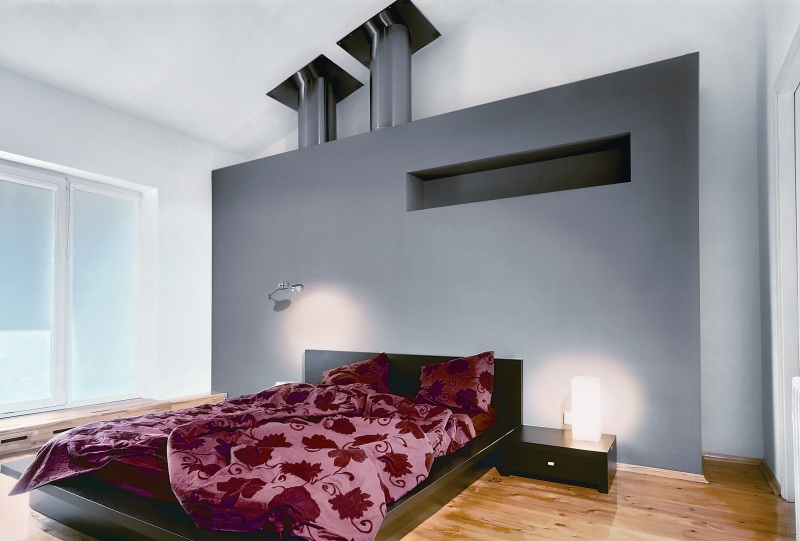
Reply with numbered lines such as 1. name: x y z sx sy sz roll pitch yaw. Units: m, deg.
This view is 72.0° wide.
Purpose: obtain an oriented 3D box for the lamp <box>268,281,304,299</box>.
1. lamp: -1.312 0.230 6.288 0.482 0.222 0.142 8 14 30

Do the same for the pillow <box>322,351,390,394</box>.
1. pillow: -0.365 0.995 5.387 0.413 0.123 0.405 -2 13 32
